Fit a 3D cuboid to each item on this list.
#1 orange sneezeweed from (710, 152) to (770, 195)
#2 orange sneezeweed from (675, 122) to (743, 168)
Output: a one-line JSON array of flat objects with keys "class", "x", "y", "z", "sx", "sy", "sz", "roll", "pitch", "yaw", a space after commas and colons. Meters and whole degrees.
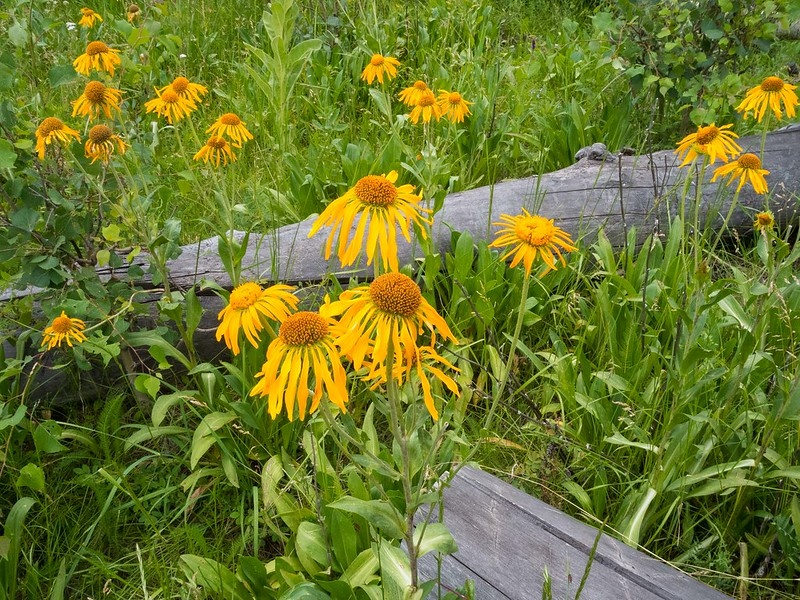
[{"class": "orange sneezeweed", "x": 1.520, "y": -0.570, "z": 2.841, "sx": 0.194, "sy": 0.167, "sz": 0.362, "roll": 3, "pitch": 15, "yaw": 20}, {"class": "orange sneezeweed", "x": 1.375, "y": -0.707, "z": 2.862, "sx": 0.249, "sy": 0.118, "sz": 0.271, "roll": 4, "pitch": -7, "yaw": 34}]
